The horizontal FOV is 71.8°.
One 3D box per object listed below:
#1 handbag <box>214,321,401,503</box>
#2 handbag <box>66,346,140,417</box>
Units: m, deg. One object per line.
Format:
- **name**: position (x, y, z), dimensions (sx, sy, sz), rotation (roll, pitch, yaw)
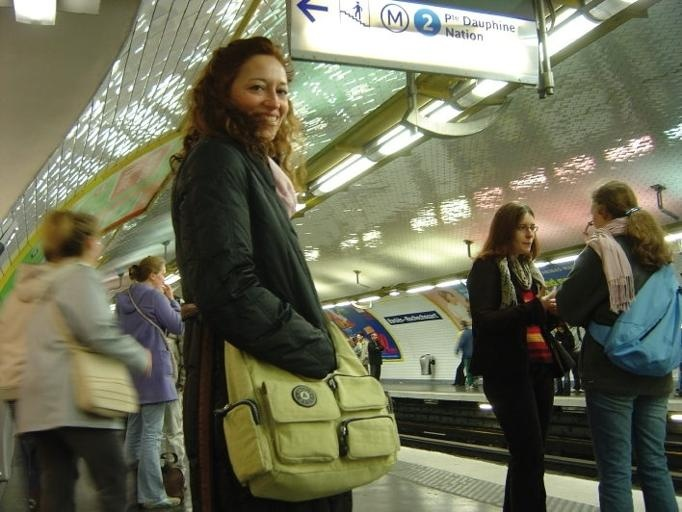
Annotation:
- **handbag**: position (-0.103, 0.542, 1.714), dimensions (0.638, 0.586, 0.232), rotation (-4, -10, -28)
- **handbag**: position (-1.350, 0.712, 2.679), dimensions (0.167, 0.469, 0.406), rotation (-35, -33, 10)
